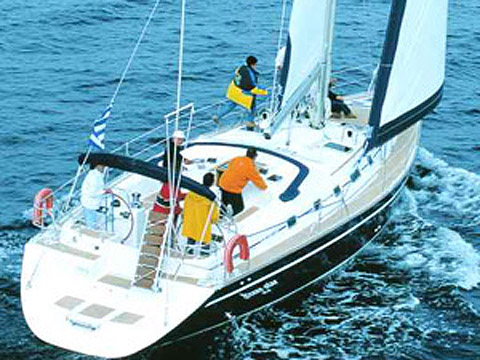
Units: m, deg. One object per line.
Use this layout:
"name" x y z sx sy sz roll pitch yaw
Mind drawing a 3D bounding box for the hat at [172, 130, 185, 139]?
"hat" -1.094 -0.838 15.472 0.211 0.124 0.267 9 0 -8

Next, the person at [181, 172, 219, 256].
"person" -0.696 0.667 15.311 0.646 1.289 0.923 1 33 -4

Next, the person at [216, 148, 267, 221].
"person" 0.016 0.089 16.282 0.957 1.405 0.682 -18 38 -39

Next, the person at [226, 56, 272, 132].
"person" 0.195 -1.990 18.834 0.862 1.612 0.773 36 47 29

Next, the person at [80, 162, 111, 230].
"person" -2.630 0.251 15.660 0.518 1.337 0.580 -2 34 -9
